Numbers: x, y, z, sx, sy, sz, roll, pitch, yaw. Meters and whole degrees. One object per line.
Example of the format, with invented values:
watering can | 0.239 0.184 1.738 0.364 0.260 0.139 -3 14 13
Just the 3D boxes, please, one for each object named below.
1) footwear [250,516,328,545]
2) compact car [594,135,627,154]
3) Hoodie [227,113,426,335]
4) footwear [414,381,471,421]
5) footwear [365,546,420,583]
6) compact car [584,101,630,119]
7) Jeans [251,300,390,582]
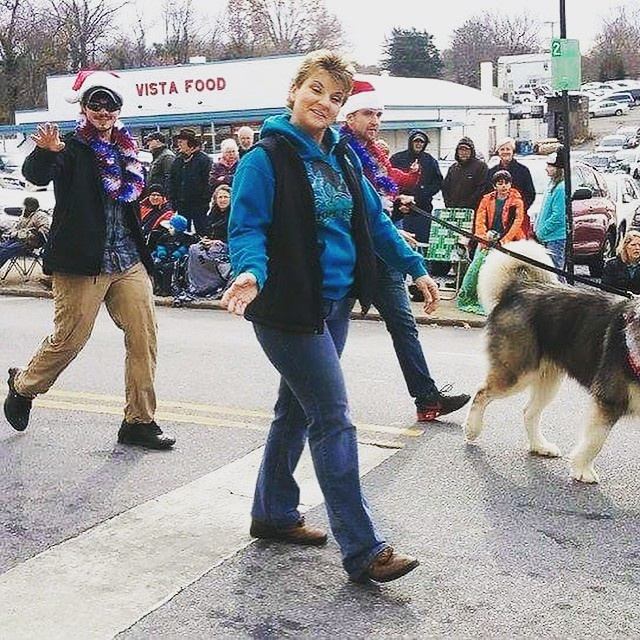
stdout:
footwear | -0.122 0.968 3.335 0.386 0.129 0.118 3 0 2
compact car | 14.992 -8.727 37.390 1.318 0.868 2.511 2 16 26
Hoodie | -0.013 -0.420 3.030 0.346 0.843 1.087 8 11 43
footwear | 0.870 0.629 5.396 0.507 0.215 0.161 -23 8 2
footwear | 0.270 0.946 2.795 0.239 0.088 0.102 -19 -2 36
compact car | 19.448 -14.076 49.328 2.979 0.799 1.150 2 9 1
Jeans | -0.022 0.461 2.995 0.508 1.056 0.550 -1 8 -6
